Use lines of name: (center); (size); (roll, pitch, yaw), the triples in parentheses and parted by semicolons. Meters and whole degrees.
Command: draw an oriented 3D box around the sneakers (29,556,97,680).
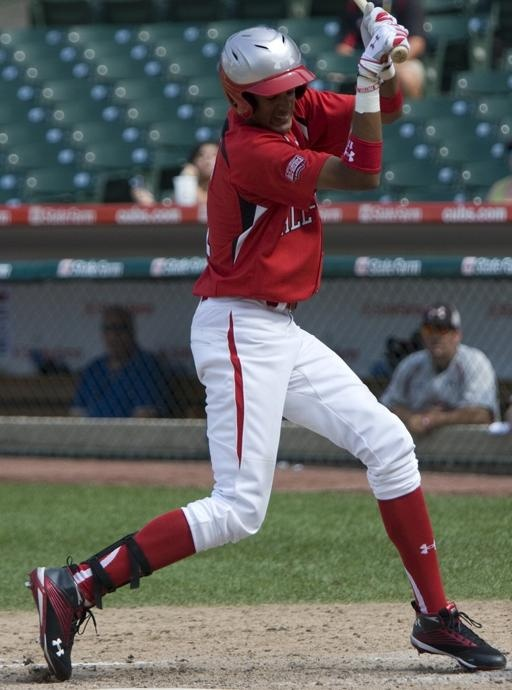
sneakers: (-0.422, 0.616, 2.198); (0.168, 0.258, 0.092); (-14, -21, -13)

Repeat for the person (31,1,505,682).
person: (0.022, -0.010, 2.229); (1.075, 1.558, 0.544); (-3, 9, -12)

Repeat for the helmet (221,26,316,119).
helmet: (0.019, -0.617, 2.198); (0.178, 0.215, 0.182); (-4, 8, -18)

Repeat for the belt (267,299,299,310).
belt: (0.059, -0.091, 2.320); (0.056, 0.041, 0.037); (15, 7, 14)
